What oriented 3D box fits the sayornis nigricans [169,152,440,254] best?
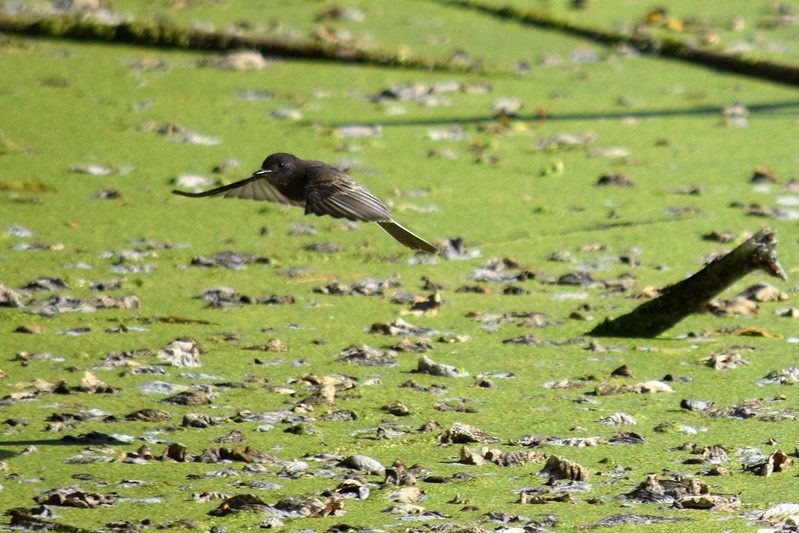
[{"bbox_3d":[-0.332,-0.312,5.763,1.308,0.198,0.909,13,-2,-5],"label":"sayornis nigricans"}]
